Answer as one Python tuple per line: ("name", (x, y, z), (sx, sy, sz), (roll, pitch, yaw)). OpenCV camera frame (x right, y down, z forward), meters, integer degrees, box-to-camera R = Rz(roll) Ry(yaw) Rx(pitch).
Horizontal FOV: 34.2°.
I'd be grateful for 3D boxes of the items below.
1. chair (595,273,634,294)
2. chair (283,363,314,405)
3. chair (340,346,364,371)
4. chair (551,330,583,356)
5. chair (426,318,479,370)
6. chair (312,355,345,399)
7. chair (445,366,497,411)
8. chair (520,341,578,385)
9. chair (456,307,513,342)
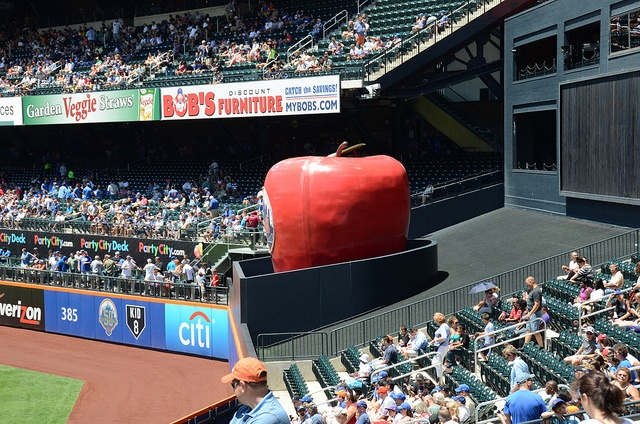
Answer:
("chair", (9.875, 2.372, 35.223), (0.852, 0.820, 0.725), (14, -1, 7))
("chair", (-0.778, 6.071, 36.377), (0.371, 0.463, 1.266), (-25, 36, 5))
("chair", (1.105, 5.256, 37.135), (0.599, 0.270, 0.831), (-30, 34, 11))
("chair", (8.172, 4.251, 34.178), (0.703, 0.954, 1.130), (2, -2, -34))
("chair", (4.504, 4.513, 35.118), (1.449, 2.583, 1.052), (-1, 21, 45))
("chair", (0.184, 5.798, 36.665), (1.089, 1.061, 1.332), (-1, -2, 6))
("chair", (4.901, 5.601, 33.688), (0.791, 0.945, 2.420), (-3, 17, -22))
("chair", (7.251, 4.856, 33.409), (0.951, 1.026, 2.812), (-4, 16, -12))
("chair", (5.597, 3.445, 36.547), (0.762, 0.964, 2.445), (2, 7, -13))
